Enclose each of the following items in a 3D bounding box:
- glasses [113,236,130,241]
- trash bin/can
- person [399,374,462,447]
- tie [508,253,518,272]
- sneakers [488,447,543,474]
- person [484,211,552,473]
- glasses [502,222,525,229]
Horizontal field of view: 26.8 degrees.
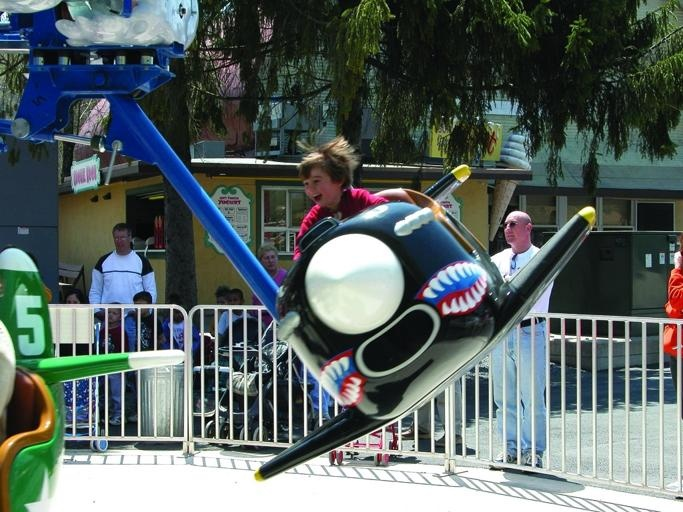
[{"bbox_3d":[-2.795,-0.227,18.408,0.258,0.069,0.189,-2,3,-29],"label":"glasses"},{"bbox_3d":[-2.170,1.699,16.757,0.593,0.901,0.592,1,-3,-40],"label":"trash bin/can"},{"bbox_3d":[1.028,1.819,16.472,0.685,0.854,2.090,0,2,4],"label":"person"},{"bbox_3d":[1.894,0.081,15.930,0.034,0.070,0.239,35,32,-10],"label":"tie"},{"bbox_3d":[1.928,2.239,15.709,0.685,0.287,0.228,2,-9,-1],"label":"sneakers"},{"bbox_3d":[1.949,0.923,15.734,0.650,2.800,0.961,0,2,8],"label":"person"},{"bbox_3d":[1.931,-0.345,16.052,0.123,0.035,0.118,-7,-13,34],"label":"glasses"}]
